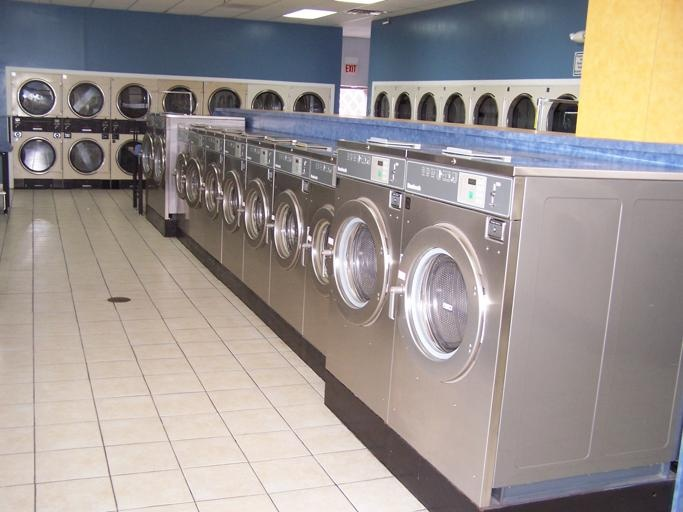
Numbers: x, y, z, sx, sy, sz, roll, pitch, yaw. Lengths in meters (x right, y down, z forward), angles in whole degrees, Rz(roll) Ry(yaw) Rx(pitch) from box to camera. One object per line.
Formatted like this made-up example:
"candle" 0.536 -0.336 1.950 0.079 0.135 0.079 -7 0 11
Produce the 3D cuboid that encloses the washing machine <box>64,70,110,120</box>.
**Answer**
"washing machine" -5.236 -3.145 10.045 0.983 1.029 0.717 -3 -4 -8

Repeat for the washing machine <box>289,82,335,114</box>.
"washing machine" -0.739 -3.837 11.617 1.139 0.659 0.326 -1 12 -7

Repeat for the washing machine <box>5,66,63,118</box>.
"washing machine" -6.084 -3.227 9.451 0.972 1.062 0.495 0 2 -17

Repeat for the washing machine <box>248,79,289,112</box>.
"washing machine" -1.744 -3.760 11.232 0.993 0.616 0.269 -2 12 -12

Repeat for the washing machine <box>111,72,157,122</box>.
"washing machine" -4.500 -3.401 10.297 0.987 0.982 0.554 -7 38 -34

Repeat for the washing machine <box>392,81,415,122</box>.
"washing machine" 1.201 -3.113 9.860 0.675 0.717 0.269 -10 18 -27

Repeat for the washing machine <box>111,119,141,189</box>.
"washing machine" -4.454 -2.117 10.423 0.745 1.448 0.743 3 7 0

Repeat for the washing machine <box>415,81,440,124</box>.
"washing machine" 1.617 -2.934 9.102 0.201 0.704 0.727 -3 13 -18

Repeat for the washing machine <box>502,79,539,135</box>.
"washing machine" 2.707 -2.263 7.211 0.206 0.677 0.562 -3 13 -18
